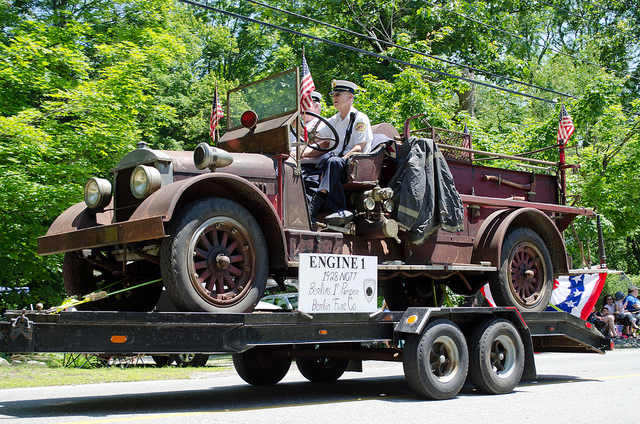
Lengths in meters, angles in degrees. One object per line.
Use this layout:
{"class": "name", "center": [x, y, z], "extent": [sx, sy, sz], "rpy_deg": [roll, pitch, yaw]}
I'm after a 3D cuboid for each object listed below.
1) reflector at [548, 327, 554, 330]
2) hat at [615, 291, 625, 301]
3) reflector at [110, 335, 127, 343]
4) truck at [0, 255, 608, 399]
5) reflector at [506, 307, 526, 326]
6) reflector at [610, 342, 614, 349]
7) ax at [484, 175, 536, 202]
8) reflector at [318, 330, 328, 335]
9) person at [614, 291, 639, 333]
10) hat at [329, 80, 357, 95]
{"class": "reflector", "center": [4.683, 2.348, 13.742], "extent": [0.142, 0.053, 0.009], "rpy_deg": [6, -5, -23]}
{"class": "hat", "center": [10.061, 2.824, 22.794], "extent": [0.230, 0.303, 0.544], "rpy_deg": [2, -5, 24]}
{"class": "reflector", "center": [-3.075, 1.945, 10.424], "extent": [0.230, 0.112, 0.033], "rpy_deg": [6, -5, -24]}
{"class": "truck", "center": [-0.255, 1.943, 12.196], "extent": [8.983, 2.443, 1.840], "rpy_deg": [6, -5, -20]}
{"class": "reflector", "center": [3.780, 2.000, 13.059], "extent": [0.619, 0.344, 0.197], "rpy_deg": [8, -6, -42]}
{"class": "reflector", "center": [6.184, 2.811, 14.387], "extent": [0.039, 0.129, 0.187], "rpy_deg": [0, -6, 42]}
{"class": "ax", "center": [4.091, -0.543, 14.410], "extent": [1.349, 0.474, 0.070], "rpy_deg": [6, -5, -27]}
{"class": "reflector", "center": [0.064, 2.043, 11.557], "extent": [0.172, 0.074, 0.010], "rpy_deg": [6, -5, -28]}
{"class": "person", "center": [10.131, 3.296, 22.408], "extent": [0.706, 1.292, 0.604], "rpy_deg": [2, -5, 28]}
{"class": "hat", "center": [0.476, -2.455, 13.290], "extent": [0.454, 0.229, 0.385], "rpy_deg": [4, -5, 3]}
